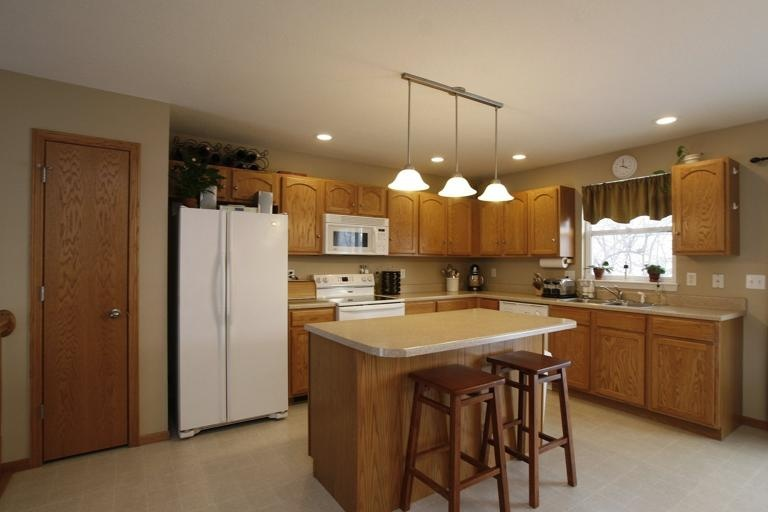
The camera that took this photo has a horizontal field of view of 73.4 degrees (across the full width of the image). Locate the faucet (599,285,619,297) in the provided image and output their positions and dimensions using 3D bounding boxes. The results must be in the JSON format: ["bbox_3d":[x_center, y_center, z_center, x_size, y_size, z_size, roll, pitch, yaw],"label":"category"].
[{"bbox_3d":[2.613,0.399,5.949,0.110,0.119,0.283,-1,2,-18],"label":"faucet"}]

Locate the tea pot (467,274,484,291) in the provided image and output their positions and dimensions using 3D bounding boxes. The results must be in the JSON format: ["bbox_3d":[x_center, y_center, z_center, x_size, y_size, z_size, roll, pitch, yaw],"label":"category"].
[{"bbox_3d":[1.290,0.361,7.344,0.200,0.209,0.225,1,1,-42],"label":"tea pot"}]

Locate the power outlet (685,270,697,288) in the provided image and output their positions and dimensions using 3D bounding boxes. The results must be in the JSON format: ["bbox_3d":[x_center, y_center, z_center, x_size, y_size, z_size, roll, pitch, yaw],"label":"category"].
[{"bbox_3d":[3.228,0.241,5.416,0.009,0.150,0.098,-3,3,-45],"label":"power outlet"}]

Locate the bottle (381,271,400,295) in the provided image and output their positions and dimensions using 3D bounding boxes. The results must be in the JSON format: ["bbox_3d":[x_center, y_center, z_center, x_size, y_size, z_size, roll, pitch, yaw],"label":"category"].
[{"bbox_3d":[0.088,0.343,6.622,0.220,0.299,0.262,0,2,-10],"label":"bottle"}]

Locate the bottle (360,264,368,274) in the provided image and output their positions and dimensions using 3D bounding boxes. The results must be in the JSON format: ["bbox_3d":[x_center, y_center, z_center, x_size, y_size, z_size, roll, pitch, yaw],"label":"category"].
[{"bbox_3d":[-0.237,0.155,6.605,0.140,0.114,0.075,-1,3,-32],"label":"bottle"}]

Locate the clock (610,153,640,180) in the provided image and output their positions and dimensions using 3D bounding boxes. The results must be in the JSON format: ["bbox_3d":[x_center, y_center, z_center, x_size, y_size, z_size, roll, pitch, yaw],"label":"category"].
[{"bbox_3d":[2.759,-1.024,5.879,0.048,0.341,0.346,10,-5,-31],"label":"clock"}]

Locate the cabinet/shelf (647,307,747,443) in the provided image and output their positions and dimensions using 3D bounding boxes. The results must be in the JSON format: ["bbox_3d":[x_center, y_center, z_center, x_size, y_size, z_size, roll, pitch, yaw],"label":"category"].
[{"bbox_3d":[3.068,1.126,4.948,0.917,1.086,0.406,0,2,4],"label":"cabinet/shelf"}]

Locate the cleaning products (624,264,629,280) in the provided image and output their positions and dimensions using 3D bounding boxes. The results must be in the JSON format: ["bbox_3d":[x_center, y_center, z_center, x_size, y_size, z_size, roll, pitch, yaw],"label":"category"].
[{"bbox_3d":[2.779,0.174,5.938,0.058,0.172,0.079,2,3,34],"label":"cleaning products"}]

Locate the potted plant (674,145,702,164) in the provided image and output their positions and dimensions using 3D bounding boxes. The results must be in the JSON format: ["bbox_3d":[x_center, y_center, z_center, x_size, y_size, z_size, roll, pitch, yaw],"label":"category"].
[{"bbox_3d":[3.157,-1.062,5.376,0.181,0.221,0.252,-2,1,-38],"label":"potted plant"}]

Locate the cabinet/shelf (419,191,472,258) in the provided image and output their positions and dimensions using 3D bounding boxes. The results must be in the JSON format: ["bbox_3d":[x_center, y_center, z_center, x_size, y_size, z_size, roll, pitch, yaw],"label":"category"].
[{"bbox_3d":[0.765,-0.397,7.120,0.960,0.796,0.347,2,-3,-34],"label":"cabinet/shelf"}]

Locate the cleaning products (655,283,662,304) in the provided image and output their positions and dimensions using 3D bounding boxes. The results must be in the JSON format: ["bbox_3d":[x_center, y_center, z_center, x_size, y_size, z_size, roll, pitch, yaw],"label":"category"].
[{"bbox_3d":[2.965,0.393,5.554,0.060,0.212,0.112,1,3,26],"label":"cleaning products"}]

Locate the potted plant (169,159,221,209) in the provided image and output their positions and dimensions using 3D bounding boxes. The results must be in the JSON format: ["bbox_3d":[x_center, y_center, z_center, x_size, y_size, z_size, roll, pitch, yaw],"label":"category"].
[{"bbox_3d":[-1.834,-0.750,5.087,0.404,0.393,0.373,27,1,12],"label":"potted plant"}]

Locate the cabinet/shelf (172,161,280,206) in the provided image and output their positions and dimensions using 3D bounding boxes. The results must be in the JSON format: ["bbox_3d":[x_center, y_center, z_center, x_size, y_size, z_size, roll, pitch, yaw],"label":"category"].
[{"bbox_3d":[-1.701,-0.758,5.599,1.064,0.361,0.304,1,4,-35],"label":"cabinet/shelf"}]

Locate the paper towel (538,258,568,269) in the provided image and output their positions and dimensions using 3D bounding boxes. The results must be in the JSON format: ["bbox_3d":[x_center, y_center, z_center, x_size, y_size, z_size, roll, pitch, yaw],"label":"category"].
[{"bbox_3d":[2.135,0.088,6.427,0.356,0.148,0.275,1,2,31],"label":"paper towel"}]

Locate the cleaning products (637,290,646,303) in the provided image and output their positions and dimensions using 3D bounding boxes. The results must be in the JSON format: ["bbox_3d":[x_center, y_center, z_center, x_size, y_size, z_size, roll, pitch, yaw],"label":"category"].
[{"bbox_3d":[2.838,0.445,5.677,0.045,0.122,0.105,0,2,-2],"label":"cleaning products"}]

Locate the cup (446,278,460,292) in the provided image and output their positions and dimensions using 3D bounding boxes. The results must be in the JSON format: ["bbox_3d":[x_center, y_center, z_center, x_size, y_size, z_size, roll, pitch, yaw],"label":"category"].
[{"bbox_3d":[0.973,0.394,7.186,0.186,0.190,0.182,1,1,0],"label":"cup"}]

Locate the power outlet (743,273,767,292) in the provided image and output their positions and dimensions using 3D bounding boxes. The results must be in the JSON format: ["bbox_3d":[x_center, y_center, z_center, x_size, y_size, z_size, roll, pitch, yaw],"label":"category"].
[{"bbox_3d":[3.655,0.254,5.067,0.025,0.181,0.191,-1,1,-43],"label":"power outlet"}]

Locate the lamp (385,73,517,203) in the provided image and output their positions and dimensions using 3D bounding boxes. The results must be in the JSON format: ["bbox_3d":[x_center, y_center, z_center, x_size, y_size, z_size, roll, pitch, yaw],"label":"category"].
[{"bbox_3d":[0.644,-1.027,4.607,1.313,0.988,0.331,2,-2,-33],"label":"lamp"}]

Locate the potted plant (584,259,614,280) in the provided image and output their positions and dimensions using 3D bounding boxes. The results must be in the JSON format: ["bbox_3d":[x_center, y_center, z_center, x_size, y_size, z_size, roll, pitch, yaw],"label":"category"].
[{"bbox_3d":[2.557,0.162,6.156,0.216,0.141,0.211,3,-4,-35],"label":"potted plant"}]

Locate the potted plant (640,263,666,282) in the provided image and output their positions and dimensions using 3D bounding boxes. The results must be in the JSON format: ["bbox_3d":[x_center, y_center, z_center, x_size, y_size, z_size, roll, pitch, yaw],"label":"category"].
[{"bbox_3d":[2.925,0.176,5.629,0.179,0.198,0.202,-1,2,-26],"label":"potted plant"}]

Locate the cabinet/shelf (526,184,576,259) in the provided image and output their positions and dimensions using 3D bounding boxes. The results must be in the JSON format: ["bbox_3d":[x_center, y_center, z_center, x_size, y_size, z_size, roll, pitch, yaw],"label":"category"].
[{"bbox_3d":[2.127,-0.419,6.462,0.391,0.805,0.455,-2,1,-31],"label":"cabinet/shelf"}]
